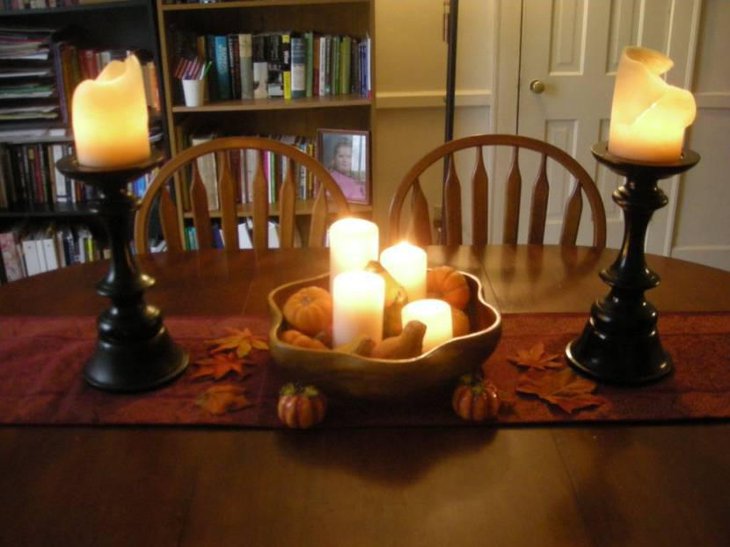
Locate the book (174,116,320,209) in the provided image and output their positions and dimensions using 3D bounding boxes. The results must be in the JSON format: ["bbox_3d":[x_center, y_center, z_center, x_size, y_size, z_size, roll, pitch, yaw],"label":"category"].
[{"bbox_3d":[-0.465,-0.412,2.139,0.504,0.265,0.217,2,24,-1],"label":"book"}]

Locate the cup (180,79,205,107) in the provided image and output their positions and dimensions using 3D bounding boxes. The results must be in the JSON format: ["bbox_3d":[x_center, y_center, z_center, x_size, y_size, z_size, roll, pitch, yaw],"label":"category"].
[{"bbox_3d":[-0.731,-0.761,2.359,0.122,0.112,0.094,3,22,10],"label":"cup"}]

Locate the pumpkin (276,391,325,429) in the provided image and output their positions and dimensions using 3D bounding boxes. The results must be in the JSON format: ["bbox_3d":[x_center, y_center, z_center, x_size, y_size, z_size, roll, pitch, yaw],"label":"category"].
[{"bbox_3d":[-0.093,0.199,0.812,0.052,0.040,0.054,2,7,8],"label":"pumpkin"}]

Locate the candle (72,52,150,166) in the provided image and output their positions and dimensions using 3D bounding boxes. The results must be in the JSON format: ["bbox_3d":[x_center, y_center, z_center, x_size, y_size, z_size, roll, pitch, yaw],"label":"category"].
[{"bbox_3d":[-0.387,-0.244,0.850,0.109,0.153,0.063,-11,24,-24],"label":"candle"}]

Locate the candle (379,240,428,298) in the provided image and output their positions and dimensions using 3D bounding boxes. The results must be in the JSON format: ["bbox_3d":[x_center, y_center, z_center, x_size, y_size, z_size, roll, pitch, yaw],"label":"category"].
[{"bbox_3d":[0.060,-0.012,1.003,0.082,0.098,0.085,12,21,29],"label":"candle"}]

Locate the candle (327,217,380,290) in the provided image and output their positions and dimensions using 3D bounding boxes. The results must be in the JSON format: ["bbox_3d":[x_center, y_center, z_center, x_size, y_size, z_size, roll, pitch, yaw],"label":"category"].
[{"bbox_3d":[-0.007,-0.046,1.069,0.096,0.171,0.104,5,14,24],"label":"candle"}]

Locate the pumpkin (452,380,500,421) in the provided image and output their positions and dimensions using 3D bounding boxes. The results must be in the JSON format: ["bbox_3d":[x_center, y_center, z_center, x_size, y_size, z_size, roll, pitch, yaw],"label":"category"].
[{"bbox_3d":[0.166,0.178,0.853,0.055,0.057,0.057,10,13,37],"label":"pumpkin"}]

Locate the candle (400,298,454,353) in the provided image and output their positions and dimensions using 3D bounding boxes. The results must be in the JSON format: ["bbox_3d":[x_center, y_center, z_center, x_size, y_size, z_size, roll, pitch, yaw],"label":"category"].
[{"bbox_3d":[0.093,0.069,0.853,0.072,0.067,0.075,3,13,19],"label":"candle"}]
